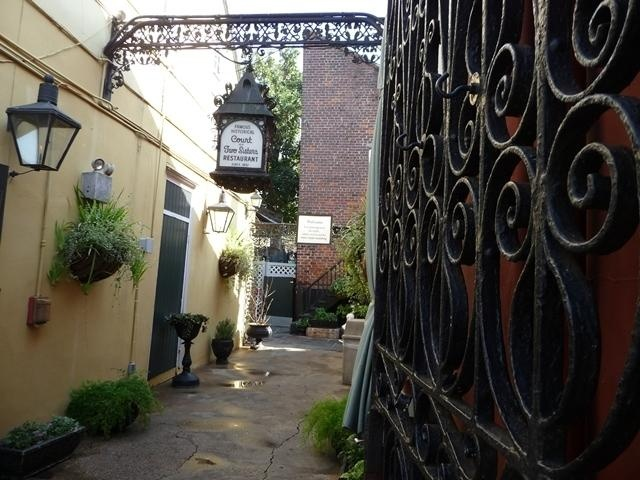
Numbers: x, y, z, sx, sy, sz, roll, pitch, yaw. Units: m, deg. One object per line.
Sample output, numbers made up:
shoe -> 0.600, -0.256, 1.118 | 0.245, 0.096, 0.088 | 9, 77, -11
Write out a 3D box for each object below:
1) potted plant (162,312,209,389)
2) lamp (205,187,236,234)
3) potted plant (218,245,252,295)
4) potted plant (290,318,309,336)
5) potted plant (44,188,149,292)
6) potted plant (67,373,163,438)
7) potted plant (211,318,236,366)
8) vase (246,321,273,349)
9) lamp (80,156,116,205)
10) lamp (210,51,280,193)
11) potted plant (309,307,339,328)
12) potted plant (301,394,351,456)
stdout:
potted plant -> -2.091, 1.667, 7.857 | 0.576, 1.049, 1.083 | 3, -4, -14
lamp -> -1.874, -0.518, 9.212 | 0.596, 1.293, 0.643 | 1, 2, -4
potted plant -> -1.743, 0.523, 10.435 | 0.664, 0.634, 0.698 | 0, -3, 11
potted plant -> -0.646, 2.613, 15.064 | 0.414, 0.350, 0.438 | -1, -5, 37
potted plant -> -2.303, 0.056, 5.308 | 0.783, 1.171, 0.849 | -5, -7, 42
potted plant -> -1.993, 1.627, 5.134 | 0.563, 0.394, 0.656 | 5, -23, -15
potted plant -> -1.907, 1.959, 9.734 | 0.413, 0.803, 0.577 | 3, -4, -9
vase -> -1.470, 2.277, 12.066 | 0.474, 0.574, 0.521 | 2, -2, -12
lamp -> -2.363, -0.644, 5.369 | 0.196, 0.465, 0.332 | 0, -6, 7
lamp -> -0.963, -1.408, 6.426 | 0.827, 1.634, 0.844 | 3, 0, 44
potted plant -> 0.118, 2.313, 14.851 | 0.539, 0.406, 0.596 | 1, -4, 7
potted plant -> 0.093, 1.652, 4.693 | 0.467, 0.668, 0.580 | -2, -11, 5
